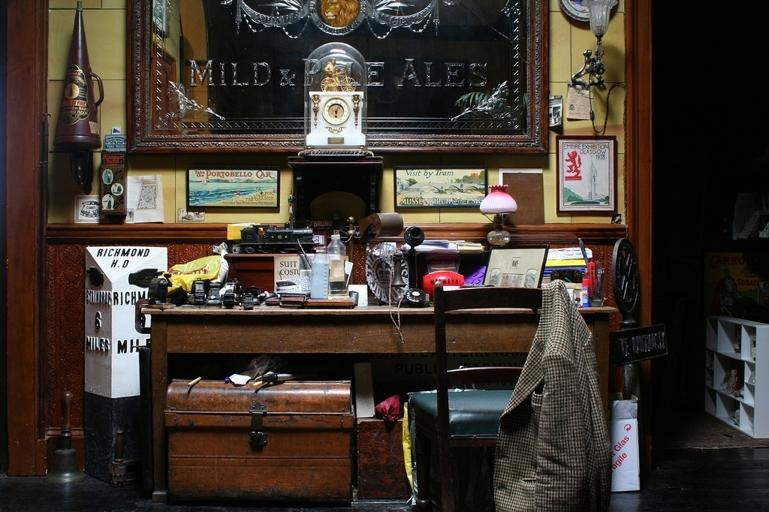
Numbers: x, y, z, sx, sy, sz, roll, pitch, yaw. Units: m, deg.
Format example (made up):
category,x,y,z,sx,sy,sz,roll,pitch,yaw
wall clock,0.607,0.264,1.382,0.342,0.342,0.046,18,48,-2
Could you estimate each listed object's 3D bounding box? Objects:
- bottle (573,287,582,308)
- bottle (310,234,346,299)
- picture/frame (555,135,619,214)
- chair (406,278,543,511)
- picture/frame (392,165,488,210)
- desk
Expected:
category,x,y,z,sx,sy,sz,roll,pitch,yaw
bottle,1.359,0.283,6.113,0.088,0.166,0.090,-1,-1,0
bottle,-0.388,0.071,6.088,0.286,0.426,0.297,-1,0,0
picture/frame,1.508,-0.626,6.543,0.565,0.735,0.047,0,-2,-3
chair,0.535,0.932,5.631,0.674,1.288,0.959,-1,0,-11
picture/frame,0.422,-0.512,6.522,0.687,0.271,0.058,-1,0,-5
desk,-0.062,1.062,6.444,3.308,1.465,1.036,2,0,-14
